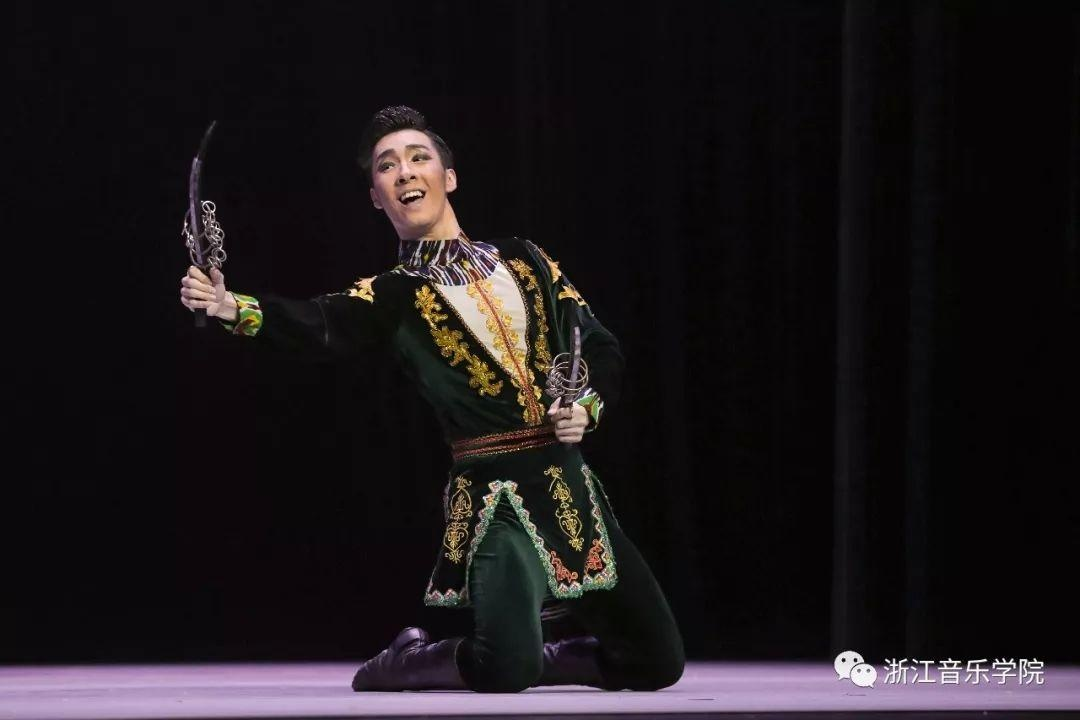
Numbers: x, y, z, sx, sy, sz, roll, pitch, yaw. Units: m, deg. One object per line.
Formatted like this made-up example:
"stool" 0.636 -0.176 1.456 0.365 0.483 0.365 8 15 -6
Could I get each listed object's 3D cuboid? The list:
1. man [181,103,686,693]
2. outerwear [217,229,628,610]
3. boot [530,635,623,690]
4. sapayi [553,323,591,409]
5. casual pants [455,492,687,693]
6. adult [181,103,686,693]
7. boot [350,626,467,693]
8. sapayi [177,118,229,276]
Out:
"man" -0.458 0.203 4.044 1.438 2.181 1.334 -8 -23 -2
"outerwear" -0.335 0.279 3.649 1.417 1.260 0.589 -8 -3 -33
"boot" 0.123 0.971 3.653 0.207 0.105 0.258 3 -6 -3
"sapayi" 0.098 0.018 3.633 0.107 0.180 0.259 -8 -5 2
"casual pants" 0.072 0.750 3.773 0.900 0.802 0.442 3 2 -41
"adult" -0.458 0.203 4.044 1.438 2.181 1.334 -8 -23 -2
"boot" -0.419 0.956 3.632 0.285 0.124 0.204 -6 -16 18
"sapayi" -0.998 -0.489 3.344 0.120 0.474 0.401 -7 -5 -15
